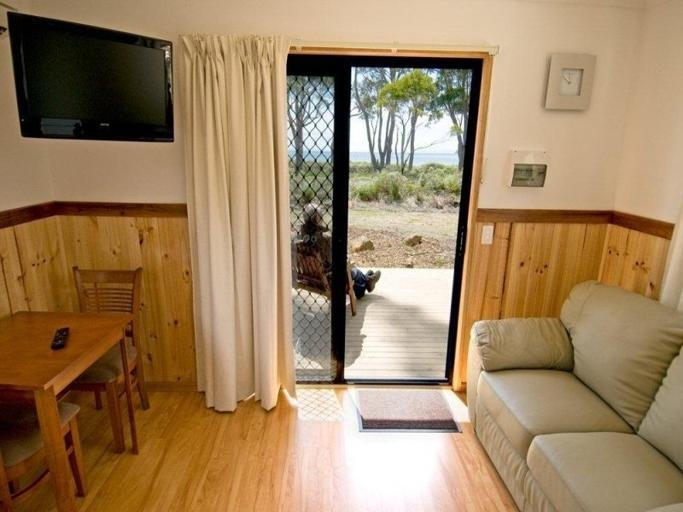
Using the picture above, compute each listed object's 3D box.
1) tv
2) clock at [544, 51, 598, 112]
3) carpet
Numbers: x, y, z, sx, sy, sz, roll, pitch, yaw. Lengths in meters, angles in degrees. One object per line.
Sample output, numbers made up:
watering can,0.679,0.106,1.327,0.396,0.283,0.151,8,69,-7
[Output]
tv,-1.551,-1.065,2.999,0.944,0.716,0.100,0,10,-24
clock,1.616,-1.250,3.491,0.378,0.444,0.042,0,12,-2
carpet,0.473,1.151,3.720,0.755,0.080,0.483,2,14,0
